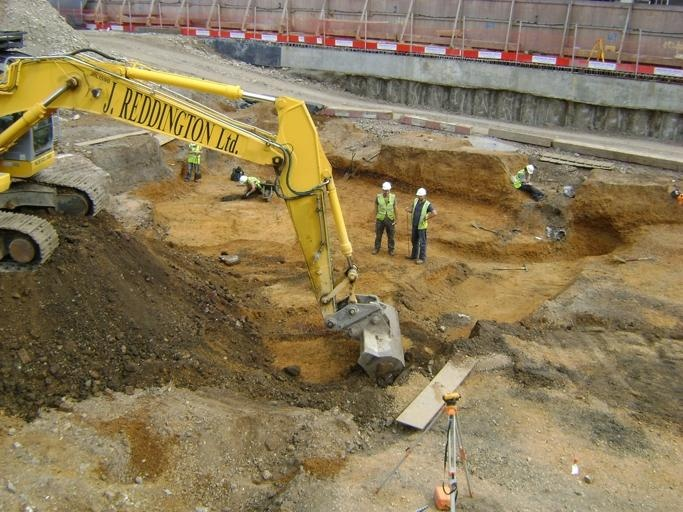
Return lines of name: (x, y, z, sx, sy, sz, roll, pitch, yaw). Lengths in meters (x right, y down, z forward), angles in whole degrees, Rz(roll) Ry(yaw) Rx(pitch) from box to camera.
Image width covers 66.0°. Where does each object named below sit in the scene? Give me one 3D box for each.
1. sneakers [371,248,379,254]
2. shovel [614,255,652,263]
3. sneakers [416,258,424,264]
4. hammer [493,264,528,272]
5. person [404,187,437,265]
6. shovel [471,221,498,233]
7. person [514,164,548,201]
sneakers: (0.849, -0.115, 13.177, 0.242, 0.182, 0.081, -1, 38, 0)
shovel: (6.721, 0.070, 12.057, 0.932, 0.099, 0.349, -2, 21, -10)
sneakers: (1.886, 0.128, 12.593, 0.164, 0.162, 0.354, 0, -2, 21)
hammer: (4.092, 0.313, 12.777, 0.609, 0.082, 0.296, -2, 8, 2)
person: (1.914, -0.693, 12.479, 0.512, 1.790, 0.617, 5, 26, 5)
shovel: (3.926, -0.788, 14.436, 0.708, 0.065, 0.235, 17, 35, 35)
person: (5.509, -2.165, 15.283, 0.544, 0.830, 1.010, -8, 22, -23)
